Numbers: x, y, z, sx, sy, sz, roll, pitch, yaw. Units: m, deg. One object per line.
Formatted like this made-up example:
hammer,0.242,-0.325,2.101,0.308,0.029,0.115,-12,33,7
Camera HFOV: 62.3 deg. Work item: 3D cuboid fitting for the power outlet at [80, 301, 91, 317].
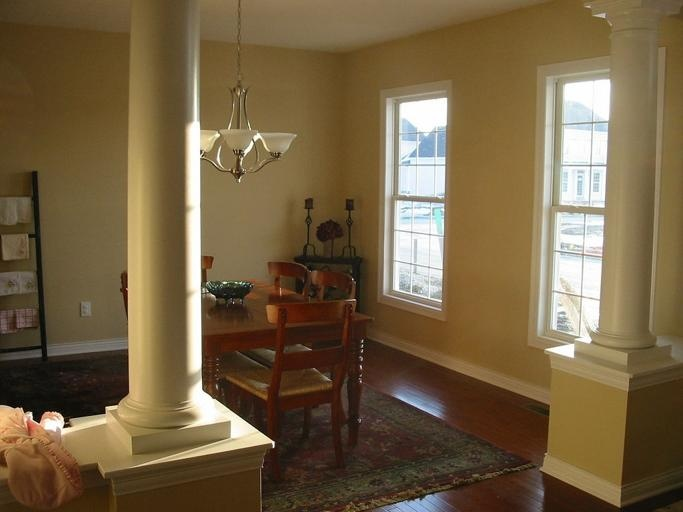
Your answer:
power outlet,-2.545,0.526,5.602,0.105,0.160,0.011,-3,9,-24

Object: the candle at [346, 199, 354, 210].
candle,0.078,-0.573,6.276,0.099,0.144,0.102,-1,4,-10

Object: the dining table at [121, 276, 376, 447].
dining table,-0.504,0.243,3.845,1.065,0.966,2.068,-6,13,-32

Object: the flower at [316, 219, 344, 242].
flower,-0.155,-0.273,6.319,0.320,0.243,0.174,3,9,14

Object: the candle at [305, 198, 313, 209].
candle,-0.364,-0.581,6.287,0.108,0.110,0.099,0,3,-3

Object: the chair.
chair,-0.679,0.646,4.243,0.960,1.018,1.930,-3,9,-28
